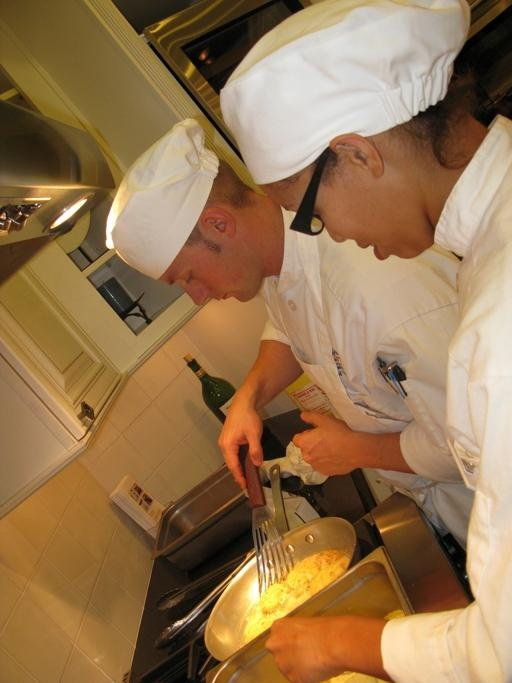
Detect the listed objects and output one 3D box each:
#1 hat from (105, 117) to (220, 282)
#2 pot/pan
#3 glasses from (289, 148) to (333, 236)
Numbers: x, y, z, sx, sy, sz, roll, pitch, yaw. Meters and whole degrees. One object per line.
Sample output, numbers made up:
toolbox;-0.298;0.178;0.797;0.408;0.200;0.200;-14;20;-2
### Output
hat;-0.127;-0.235;0.921;0.196;0.112;0.263;41;113;43
pot/pan;0.042;0.444;0.978;0.220;0.056;0.368;-44;24;42
glasses;0.064;-0.168;0.570;0.017;0.062;0.064;15;93;15
